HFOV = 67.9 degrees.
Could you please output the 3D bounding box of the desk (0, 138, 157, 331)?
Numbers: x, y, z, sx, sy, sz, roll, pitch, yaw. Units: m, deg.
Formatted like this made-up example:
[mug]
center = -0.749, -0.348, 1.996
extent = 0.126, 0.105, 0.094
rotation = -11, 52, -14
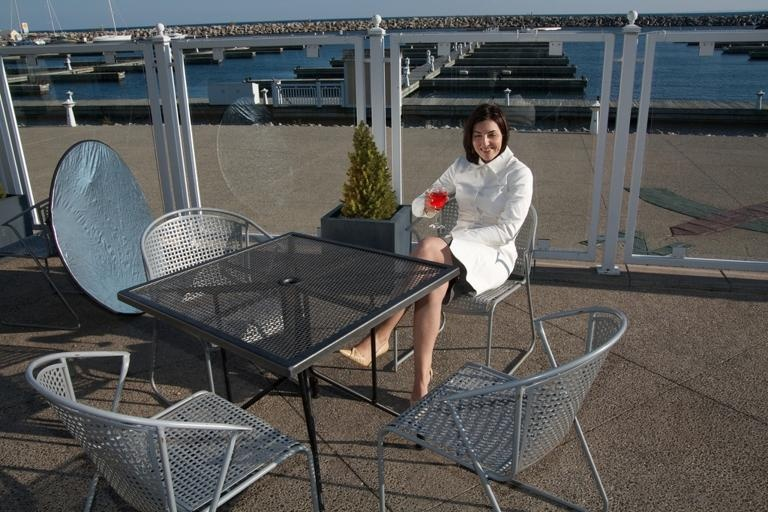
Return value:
[desk]
center = -2.560, -0.142, 4.850
extent = 1.187, 1.257, 1.415
rotation = 16, 16, 5
